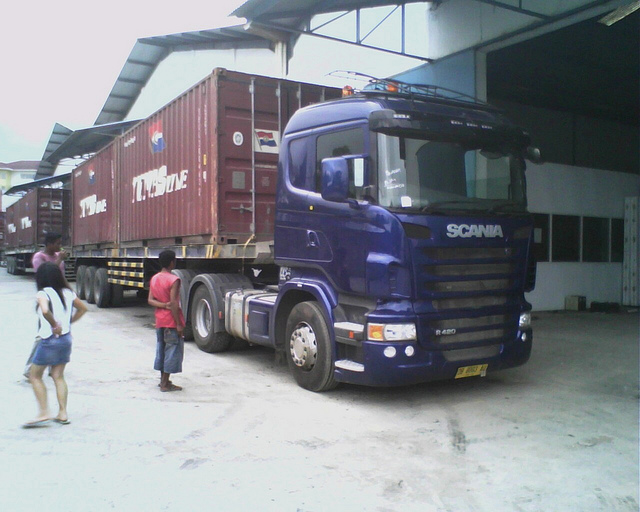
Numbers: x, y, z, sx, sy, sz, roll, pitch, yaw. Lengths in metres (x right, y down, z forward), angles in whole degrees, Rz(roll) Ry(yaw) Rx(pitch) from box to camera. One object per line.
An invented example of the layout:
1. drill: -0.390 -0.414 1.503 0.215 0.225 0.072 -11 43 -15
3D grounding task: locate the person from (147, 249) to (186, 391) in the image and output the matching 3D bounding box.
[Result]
1. person: -1.986 0.837 7.385 0.425 1.801 0.532 -1 4 -18

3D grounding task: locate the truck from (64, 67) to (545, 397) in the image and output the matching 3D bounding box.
1. truck: -1.998 -0.630 14.525 4.174 5.891 17.129 1 -2 -32

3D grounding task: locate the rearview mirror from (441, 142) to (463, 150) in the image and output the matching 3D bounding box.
1. rearview mirror: 1.607 -1.340 6.938 0.129 0.034 0.133 2 0 -28

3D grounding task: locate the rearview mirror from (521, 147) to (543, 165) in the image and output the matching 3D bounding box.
1. rearview mirror: 2.834 -1.338 7.586 0.148 0.197 0.428 -3 13 -8

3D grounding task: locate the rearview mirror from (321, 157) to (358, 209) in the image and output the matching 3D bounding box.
1. rearview mirror: 0.230 -0.880 6.791 0.377 0.652 0.273 -2 5 -36
